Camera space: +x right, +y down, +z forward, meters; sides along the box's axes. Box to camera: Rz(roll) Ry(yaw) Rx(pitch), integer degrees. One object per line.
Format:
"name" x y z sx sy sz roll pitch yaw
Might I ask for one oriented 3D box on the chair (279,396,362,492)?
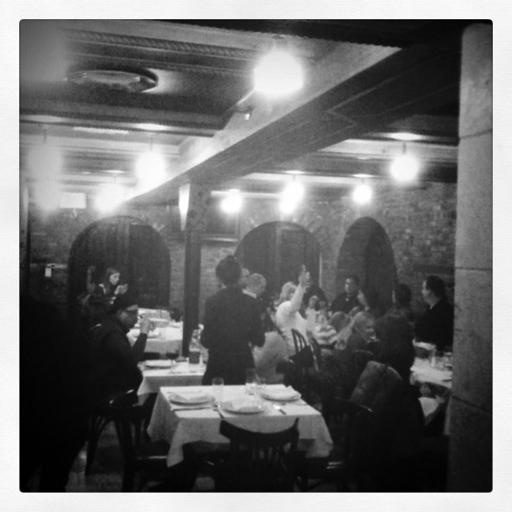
"chair" 0.496 1.213 3.621 0.415 0.733 0.448 1 1 -11

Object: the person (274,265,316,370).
"person" 0.346 0.563 4.930 0.242 0.905 0.321 -10 27 -8

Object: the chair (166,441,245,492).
"chair" -0.349 1.223 3.334 0.321 0.360 0.364 2 -11 -6
